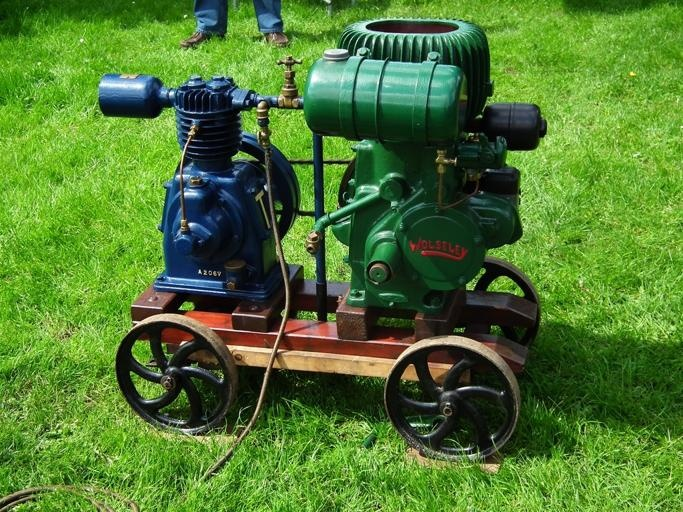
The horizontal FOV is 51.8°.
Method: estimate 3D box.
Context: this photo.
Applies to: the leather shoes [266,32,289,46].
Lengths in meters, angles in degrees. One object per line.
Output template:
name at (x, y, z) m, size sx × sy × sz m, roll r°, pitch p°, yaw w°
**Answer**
leather shoes at (-0.773, -2.621, 8.495) m, size 0.232 × 0.133 × 0.364 m, roll -8°, pitch 28°, yaw -18°
